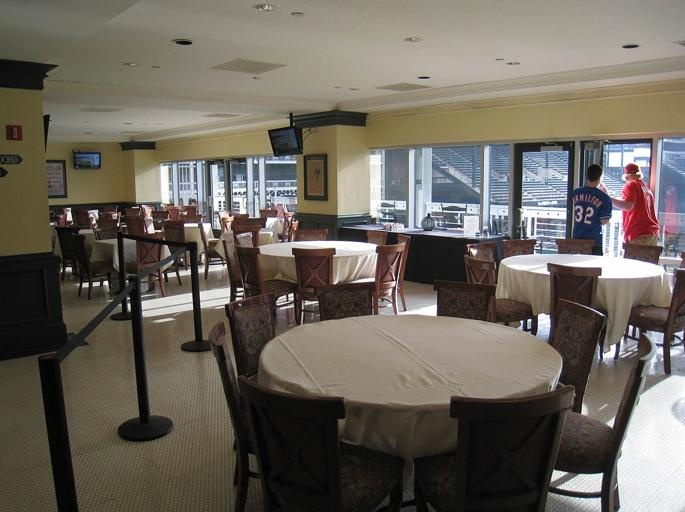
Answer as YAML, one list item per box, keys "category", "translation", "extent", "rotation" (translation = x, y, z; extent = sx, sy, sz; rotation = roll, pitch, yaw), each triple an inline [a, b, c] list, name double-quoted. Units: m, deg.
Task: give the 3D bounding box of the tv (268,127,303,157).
- category: "tv"
  translation: [-1.083, -2.258, 9.990]
  extent: [0.794, 0.689, 0.273]
  rotation: [0, 21, 31]

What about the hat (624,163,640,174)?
- category: "hat"
  translation: [3.544, -1.087, 6.222]
  extent: [0.135, 0.097, 0.201]
  rotation: [3, 22, 30]

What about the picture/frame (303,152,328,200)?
- category: "picture/frame"
  translation: [-0.488, -1.585, 9.887]
  extent: [0.052, 1.039, 0.797]
  rotation: [-9, 14, -38]

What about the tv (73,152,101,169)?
- category: "tv"
  translation: [-7.626, -2.861, 15.178]
  extent: [0.502, 0.395, 0.070]
  rotation: [-2, 11, -24]

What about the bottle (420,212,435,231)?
- category: "bottle"
  translation: [1.463, -0.570, 8.603]
  extent: [0.240, 0.325, 0.250]
  rotation: [-1, 6, 0]
